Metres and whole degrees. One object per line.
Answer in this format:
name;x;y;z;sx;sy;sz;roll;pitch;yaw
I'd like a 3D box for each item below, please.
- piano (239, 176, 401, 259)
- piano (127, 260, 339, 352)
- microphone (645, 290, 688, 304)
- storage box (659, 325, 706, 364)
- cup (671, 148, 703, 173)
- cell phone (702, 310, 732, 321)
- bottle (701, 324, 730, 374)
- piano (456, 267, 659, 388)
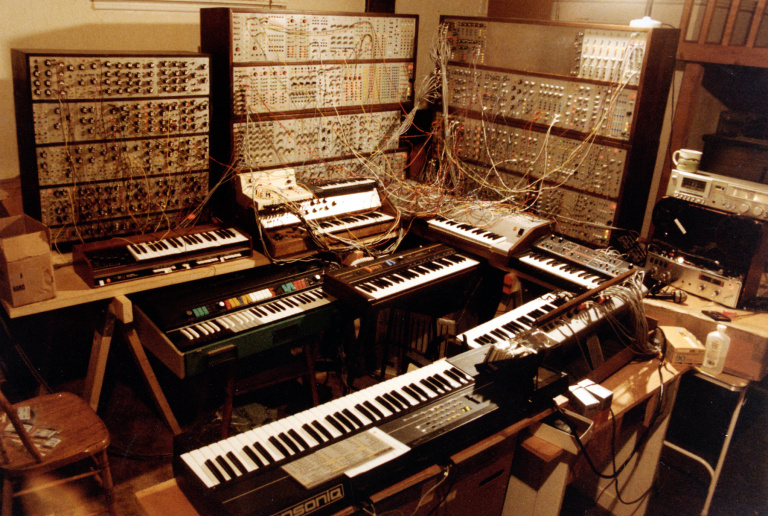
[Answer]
piano;-0.639;-0.376;4.819;1.146;0.471;0.798;-18;44;-34
piano;-1.115;0.339;4.210;1.341;0.204;0.715;-20;32;-29
microphone;2.329;0.319;4.521;0.220;0.087;0.143;-5;11;24
storage box;2.238;0.664;4.162;0.214;0.095;0.297;-1;20;0
cup;2.518;-0.807;4.556;0.165;0.155;0.181;-3;27;1
cell phone;2.604;0.457;4.294;0.191;0.011;0.145;2;28;11
bottle;2.463;0.675;4.059;0.143;0.373;0.209;20;35;38
piano;1.373;0.421;4.036;1.670;0.539;0.635;-17;31;-30
